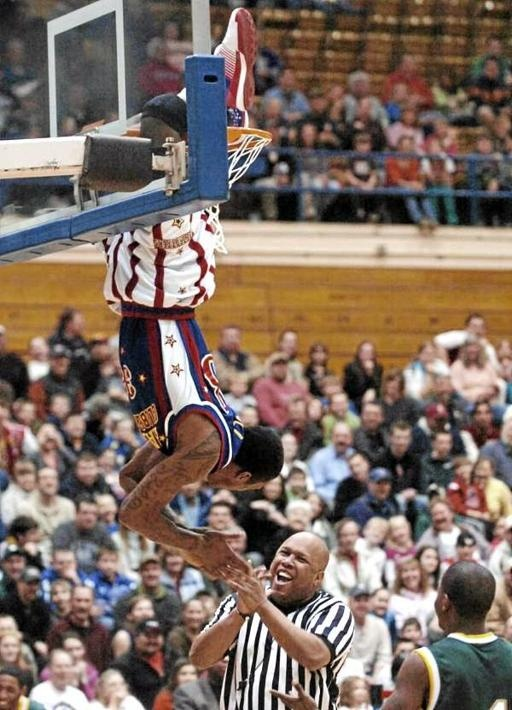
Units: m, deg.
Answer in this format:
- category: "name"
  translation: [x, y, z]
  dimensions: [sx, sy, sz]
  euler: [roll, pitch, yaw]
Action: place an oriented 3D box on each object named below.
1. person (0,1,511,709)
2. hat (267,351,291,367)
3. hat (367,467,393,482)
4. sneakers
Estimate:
- category: "person"
  translation: [-0.283, 0.003, 5.628]
  dimensions: [0.628, 2.393, 1.002]
  euler: [6, 10, 43]
- category: "hat"
  translation: [0.107, 0.016, 9.069]
  dimensions: [0.074, 0.081, 0.092]
  euler: [0, -23, 1]
- category: "hat"
  translation: [0.690, 0.658, 9.182]
  dimensions: [0.116, 0.058, 0.180]
  euler: [1, -3, -6]
- category: "sneakers"
  translation: [-0.064, -0.981, 5.788]
  dimensions: [0.195, 0.431, 0.145]
  euler: [-5, 5, 9]
